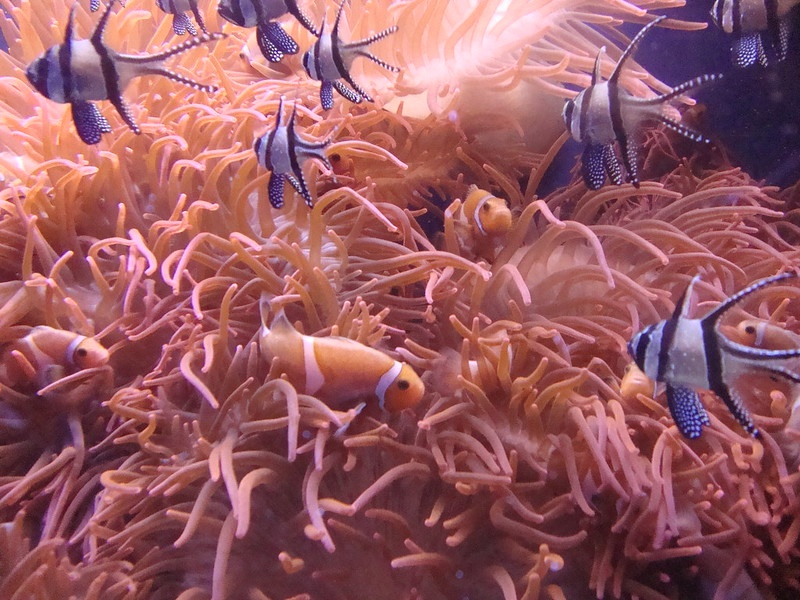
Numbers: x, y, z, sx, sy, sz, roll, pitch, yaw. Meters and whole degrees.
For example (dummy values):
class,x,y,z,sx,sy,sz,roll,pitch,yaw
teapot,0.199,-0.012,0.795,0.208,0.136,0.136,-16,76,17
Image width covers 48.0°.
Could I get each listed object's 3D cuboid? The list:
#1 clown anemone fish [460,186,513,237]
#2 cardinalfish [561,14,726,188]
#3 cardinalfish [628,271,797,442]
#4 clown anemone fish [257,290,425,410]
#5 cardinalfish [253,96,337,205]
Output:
class,x,y,z,sx,sy,sz,roll,pitch,yaw
clown anemone fish,0.256,-0.281,2.859,0.139,0.120,0.268,-19,28,-13
cardinalfish,0.699,-0.520,2.584,0.462,0.490,0.191,13,33,41
cardinalfish,0.765,0.118,2.421,0.476,0.479,0.336,0,17,-15
clown anemone fish,-0.193,0.180,2.522,0.522,0.298,0.225,13,31,10
cardinalfish,-0.304,-0.433,2.668,0.192,0.334,0.338,7,22,16
